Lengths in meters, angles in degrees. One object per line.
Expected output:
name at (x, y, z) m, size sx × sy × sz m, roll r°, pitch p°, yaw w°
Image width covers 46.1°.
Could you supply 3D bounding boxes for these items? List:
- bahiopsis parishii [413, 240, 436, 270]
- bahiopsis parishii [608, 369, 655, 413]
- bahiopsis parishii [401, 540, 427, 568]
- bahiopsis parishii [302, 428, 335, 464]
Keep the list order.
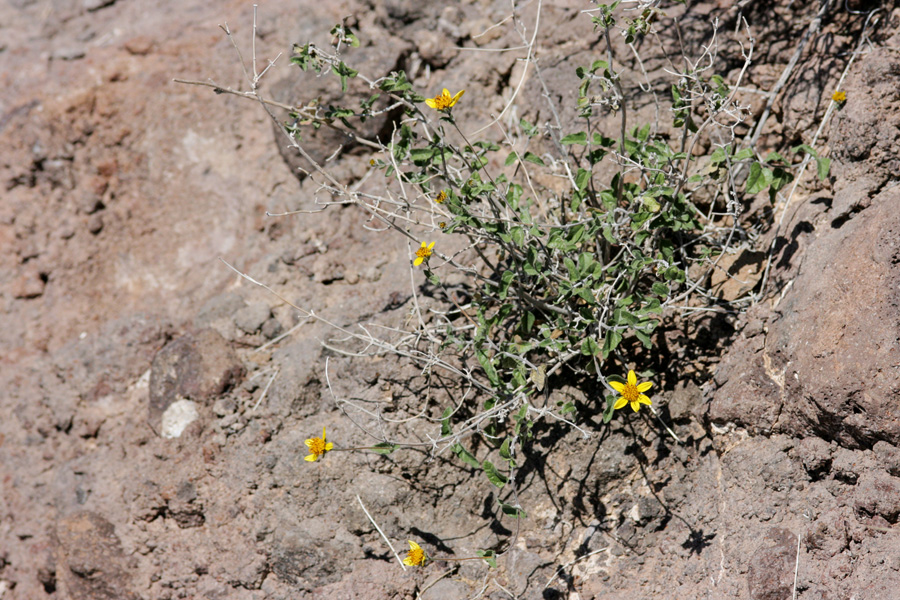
bahiopsis parishii at (-0.161, -0.299, 6.640) m, size 0.079 × 0.157 × 0.158 m, roll 17°, pitch 49°, yaw -7°
bahiopsis parishii at (1.095, 0.561, 6.471) m, size 0.240 × 0.331 × 0.250 m, roll -1°, pitch 77°, yaw 7°
bahiopsis parishii at (-0.215, 1.589, 6.649) m, size 0.162 × 0.067 × 0.167 m, roll 21°, pitch 106°, yaw 18°
bahiopsis parishii at (-0.833, 0.927, 6.694) m, size 0.095 × 0.212 × 0.211 m, roll 5°, pitch 87°, yaw 51°
